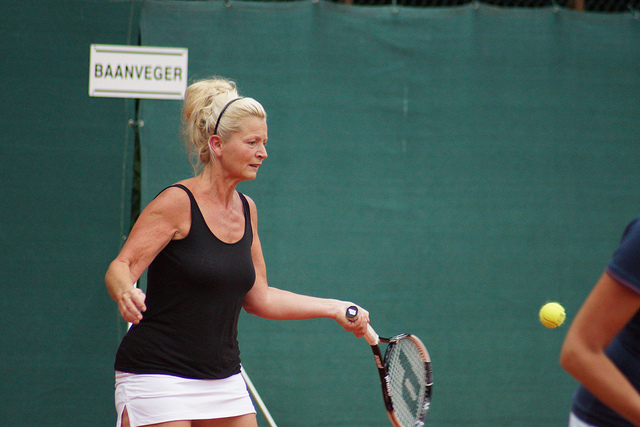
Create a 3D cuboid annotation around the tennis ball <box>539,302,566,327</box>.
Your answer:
[{"bbox_3d":[1.782,0.792,7.805,0.168,0.177,0.179,29,-23,13],"label":"tennis ball"}]
